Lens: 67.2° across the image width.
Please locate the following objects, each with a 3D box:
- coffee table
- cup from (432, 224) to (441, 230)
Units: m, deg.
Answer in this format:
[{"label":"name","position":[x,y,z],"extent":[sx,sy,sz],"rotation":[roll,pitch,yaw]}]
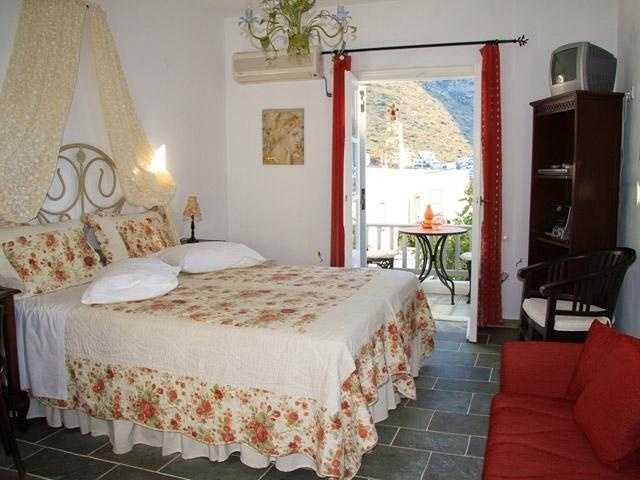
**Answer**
[{"label":"coffee table","position":[1.437,0.228,6.280],"extent":[0.945,1.164,1.002],"rotation":[0,4,4]},{"label":"cup","position":[1.451,-0.175,6.023],"extent":[0.124,0.098,0.072],"rotation":[2,9,9]}]
